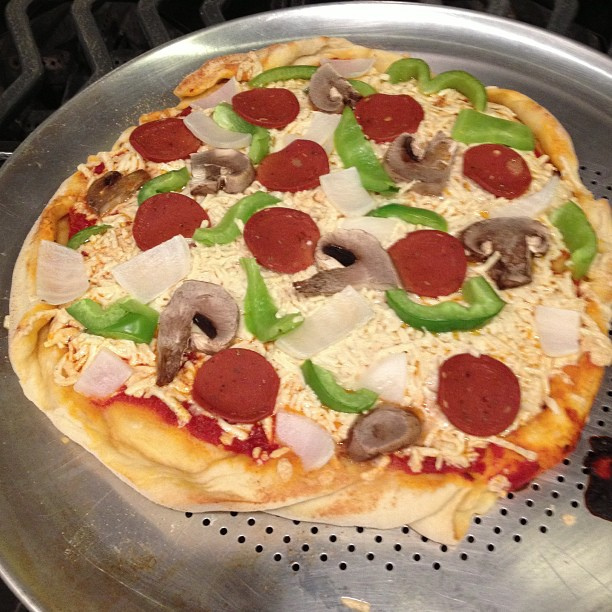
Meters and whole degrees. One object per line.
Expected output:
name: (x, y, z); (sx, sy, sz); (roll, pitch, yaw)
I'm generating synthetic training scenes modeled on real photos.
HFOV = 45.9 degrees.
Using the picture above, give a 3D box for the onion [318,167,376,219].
onion: (0.176, -0.491, 3.189); (0.291, 0.066, 0.207); (-17, 66, -14)

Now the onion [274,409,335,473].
onion: (-0.013, 0.506, 2.760); (0.170, 0.052, 0.293); (-39, 72, -13)

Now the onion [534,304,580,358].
onion: (1.006, 0.110, 2.914); (0.279, 0.058, 0.160); (2, 78, -6)

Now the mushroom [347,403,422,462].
mushroom: (0.268, 0.478, 2.713); (0.303, 0.094, 0.180); (-29, 71, -10)

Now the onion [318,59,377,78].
onion: (0.204, -1.206, 3.672); (0.215, 0.049, 0.110); (-19, 51, -6)
